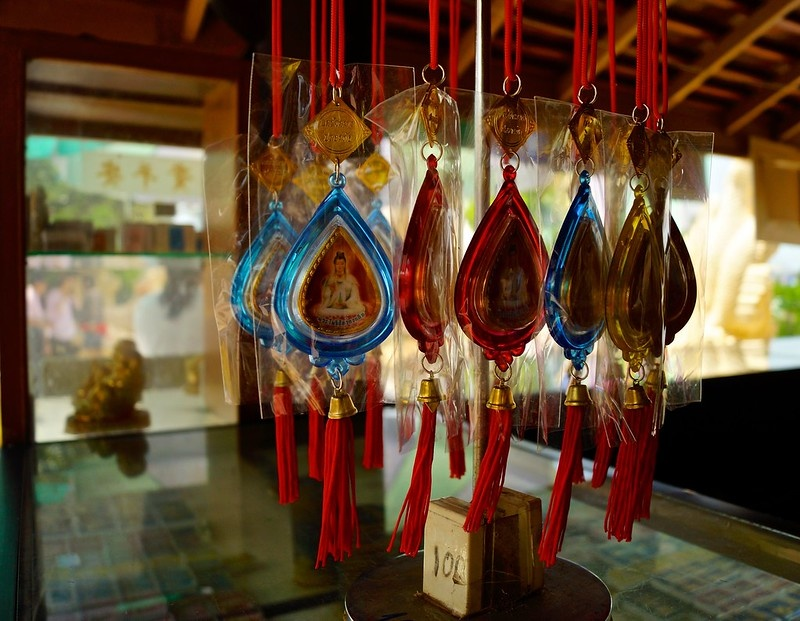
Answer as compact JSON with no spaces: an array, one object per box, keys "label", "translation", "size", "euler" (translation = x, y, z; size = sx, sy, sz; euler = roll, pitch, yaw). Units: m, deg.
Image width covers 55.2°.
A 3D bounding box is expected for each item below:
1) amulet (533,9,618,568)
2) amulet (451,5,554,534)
[{"label":"amulet","translation":[0.185,-0.046,0.820],"size":[0.099,0.501,0.103],"euler":[-2,15,-26]},{"label":"amulet","translation":[0.115,-0.065,0.810],"size":[0.087,0.534,0.224],"euler":[3,10,17]}]
